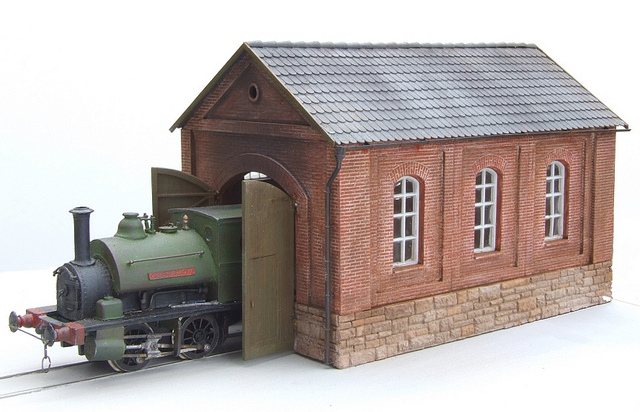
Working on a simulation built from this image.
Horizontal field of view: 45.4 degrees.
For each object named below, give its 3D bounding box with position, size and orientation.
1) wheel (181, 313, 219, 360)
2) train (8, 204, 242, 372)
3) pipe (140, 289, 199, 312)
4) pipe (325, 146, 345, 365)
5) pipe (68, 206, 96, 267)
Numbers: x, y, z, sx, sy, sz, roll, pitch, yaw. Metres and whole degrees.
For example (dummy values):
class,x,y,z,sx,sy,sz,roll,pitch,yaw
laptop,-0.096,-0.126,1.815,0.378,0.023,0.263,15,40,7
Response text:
class,x,y,z,sx,sy,sz,roll,pitch,yaw
wheel,-3.163,3.387,19.946,1.249,1.348,0.385,-1,0,-28
train,-4.393,2.081,19.473,4.909,4.185,1.305,-1,-5,-24
pipe,-3.774,2.269,19.431,1.345,0.490,0.072,-3,11,-25
pipe,0.410,1.498,19.321,0.813,4.330,0.574,2,-2,-7
pipe,-5.890,0.763,18.913,0.820,1.435,0.794,-7,9,-39
